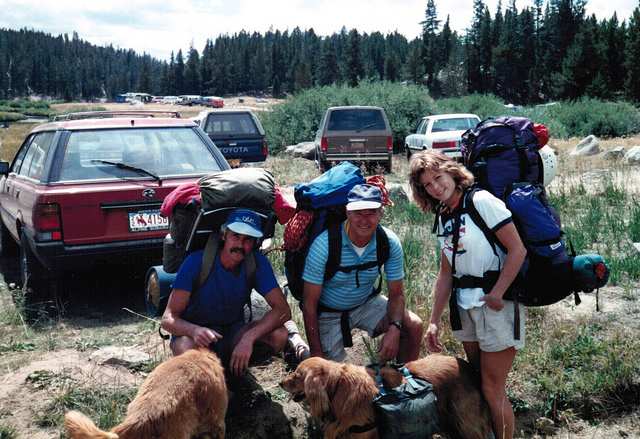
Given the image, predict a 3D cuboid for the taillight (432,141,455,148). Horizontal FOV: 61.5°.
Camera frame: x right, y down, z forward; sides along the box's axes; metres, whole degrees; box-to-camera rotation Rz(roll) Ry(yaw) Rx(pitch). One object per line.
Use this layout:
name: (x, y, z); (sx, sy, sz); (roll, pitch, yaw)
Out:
taillight: (3.619, -2.161, 15.646); (0.632, 0.182, 0.164); (-1, 12, 23)

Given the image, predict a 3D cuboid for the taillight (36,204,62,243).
taillight: (-3.337, 0.085, 6.674); (0.349, 0.591, 0.370); (1, -5, -40)

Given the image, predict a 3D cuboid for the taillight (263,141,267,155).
taillight: (-1.569, -2.019, 15.258); (0.068, 0.371, 0.113); (-1, 12, 20)

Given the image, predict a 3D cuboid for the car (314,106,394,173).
car: (0.964, -2.199, 14.425); (1.338, 1.155, 2.298); (-2, 16, -4)

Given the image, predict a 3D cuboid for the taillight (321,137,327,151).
taillight: (0.127, -2.003, 14.398); (0.180, 0.351, 0.043); (4, 14, 39)

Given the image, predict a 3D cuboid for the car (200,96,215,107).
car: (-22.191, -23.367, 106.623); (1.857, 2.606, 4.497); (-8, 12, -40)

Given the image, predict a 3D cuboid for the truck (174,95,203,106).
truck: (-26.817, -24.262, 110.190); (6.008, 1.943, 3.971); (-2, 13, -14)

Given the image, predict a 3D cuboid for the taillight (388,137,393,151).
taillight: (1.868, -2.001, 14.382); (0.089, 0.349, 0.052); (-10, 12, -24)
